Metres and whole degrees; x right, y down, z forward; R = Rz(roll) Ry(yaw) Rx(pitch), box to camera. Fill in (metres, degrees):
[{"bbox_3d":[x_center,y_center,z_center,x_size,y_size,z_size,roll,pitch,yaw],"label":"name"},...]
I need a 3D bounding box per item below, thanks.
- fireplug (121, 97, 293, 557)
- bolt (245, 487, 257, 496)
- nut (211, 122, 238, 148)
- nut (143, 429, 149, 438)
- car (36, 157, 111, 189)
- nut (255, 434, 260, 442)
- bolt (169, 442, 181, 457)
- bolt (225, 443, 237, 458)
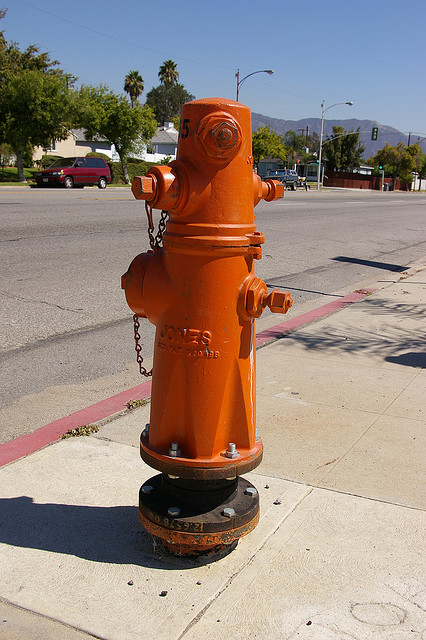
[{"bbox_3d":[-0.036,0.016,2.365,0.708,1.609,0.873,1,14,1],"label":"fireplug"},{"bbox_3d":[0.163,0.722,2.472,0.028,0.007,0.025,1,4,6],"label":"bolt"},{"bbox_3d":[0.040,-0.634,2.080,0.118,0.098,0.080,-1,2,3],"label":"nut"},{"bbox_3d":[-0.279,0.478,2.458,0.025,0.023,0.024,1,2,9],"label":"nut"},{"bbox_3d":[-7.214,-7.415,29.958,3.186,1.337,1.911,-9,15,-44],"label":"car"},{"bbox_3d":[0.188,0.496,2.472,0.020,0.034,0.019,-7,18,-24],"label":"nut"},{"bbox_3d":[-0.144,0.494,2.227,0.054,0.048,0.045,1,-5,-4],"label":"bolt"},{"bbox_3d":[0.072,0.499,2.241,0.050,0.053,0.051,4,-3,-6],"label":"bolt"}]
